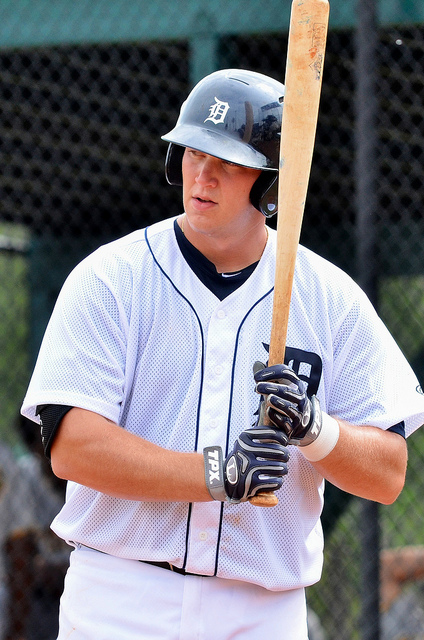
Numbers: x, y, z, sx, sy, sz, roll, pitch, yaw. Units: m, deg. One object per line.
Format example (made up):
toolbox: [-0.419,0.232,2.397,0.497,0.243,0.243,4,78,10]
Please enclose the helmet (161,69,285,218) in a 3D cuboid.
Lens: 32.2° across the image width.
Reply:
helmet: [0.048,-0.414,1.684,0.286,0.356,0.275,27,119,32]
